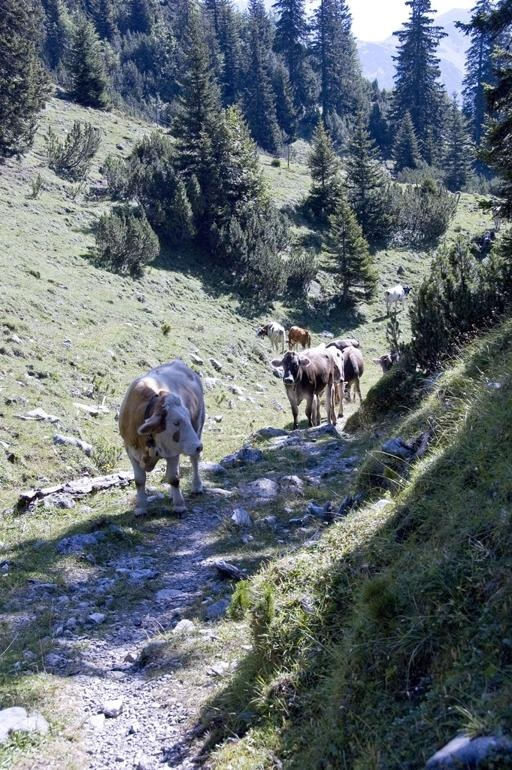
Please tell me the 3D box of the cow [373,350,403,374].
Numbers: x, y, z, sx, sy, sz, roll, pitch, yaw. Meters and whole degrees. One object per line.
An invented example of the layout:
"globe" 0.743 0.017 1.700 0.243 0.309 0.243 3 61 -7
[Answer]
"cow" 3.589 -0.598 20.001 0.449 0.815 1.515 -1 -2 4

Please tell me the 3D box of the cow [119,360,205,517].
"cow" -1.177 0.777 9.279 1.027 1.666 2.344 -4 11 -7
